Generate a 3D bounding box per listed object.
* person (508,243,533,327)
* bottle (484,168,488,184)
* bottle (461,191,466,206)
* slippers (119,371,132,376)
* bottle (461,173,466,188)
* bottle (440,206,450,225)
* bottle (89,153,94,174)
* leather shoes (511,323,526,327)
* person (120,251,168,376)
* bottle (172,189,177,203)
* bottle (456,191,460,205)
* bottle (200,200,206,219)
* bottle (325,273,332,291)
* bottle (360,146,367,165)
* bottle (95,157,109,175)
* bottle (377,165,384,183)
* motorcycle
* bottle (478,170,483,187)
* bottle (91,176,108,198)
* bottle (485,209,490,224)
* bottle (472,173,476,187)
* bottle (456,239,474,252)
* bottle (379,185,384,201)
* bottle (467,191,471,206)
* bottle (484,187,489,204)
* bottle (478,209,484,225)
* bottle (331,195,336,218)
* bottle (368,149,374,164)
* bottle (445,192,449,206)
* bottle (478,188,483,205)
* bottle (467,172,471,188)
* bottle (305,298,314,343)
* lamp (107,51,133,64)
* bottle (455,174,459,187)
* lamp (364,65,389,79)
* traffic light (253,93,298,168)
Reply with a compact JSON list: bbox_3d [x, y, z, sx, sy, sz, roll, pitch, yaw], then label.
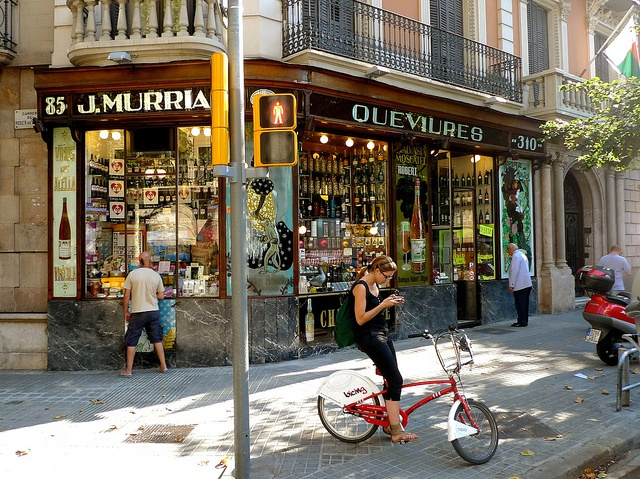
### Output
[{"bbox_3d":[5.034,1.145,18.436,0.575,1.915,0.861,2,12,14],"label":"person"},{"bbox_3d":[4.412,-1.646,19.274,0.118,0.357,0.055,1,12,13],"label":"bottle"},{"bbox_3d":[3.782,-1.057,19.178,0.154,0.334,0.082,-5,12,-15],"label":"bottle"},{"bbox_3d":[-3.813,2.635,14.370,0.192,0.056,0.083,2,-7,1],"label":"slippers"},{"bbox_3d":[3.777,-1.547,19.156,0.156,0.342,0.041,-8,13,-30],"label":"bottle"},{"bbox_3d":[3.209,-0.590,18.702,0.065,0.462,0.438,7,14,36],"label":"bottle"},{"bbox_3d":[-4.814,-1.587,15.439,0.071,0.426,0.135,2,12,14],"label":"bottle"},{"bbox_3d":[4.988,2.127,18.277,0.263,0.119,0.127,3,-4,11],"label":"leather shoes"},{"bbox_3d":[-3.501,1.619,14.521,0.840,2.020,0.654,-4,12,-14],"label":"person"},{"bbox_3d":[-3.054,-0.924,15.447,0.104,0.257,0.079,0,11,6],"label":"bottle"},{"bbox_3d":[3.603,-1.066,19.076,0.176,0.315,0.050,-10,14,-37],"label":"bottle"},{"bbox_3d":[-2.444,-0.629,15.337,0.130,0.381,0.105,-3,11,-8],"label":"bottle"},{"bbox_3d":[0.213,0.935,16.243,0.145,0.336,0.394,-1,12,0],"label":"bottle"},{"bbox_3d":[1.026,-1.944,16.987,0.173,0.378,0.039,-8,13,-29],"label":"bottle"},{"bbox_3d":[-4.626,-1.564,15.518,0.314,0.374,0.071,-3,11,-6],"label":"bottle"},{"bbox_3d":[1.443,-1.533,17.094,0.130,0.405,0.058,0,11,7],"label":"bottle"},{"bbox_3d":[5.577,1.530,14.194,0.788,1.853,1.184,-7,13,-28],"label":"motorcycle"},{"bbox_3d":[4.253,-1.616,19.303,0.118,0.327,0.040,1,12,13],"label":"bottle"},{"bbox_3d":[-4.678,-1.103,15.498,0.446,0.539,0.149,1,-1,-26],"label":"bottle"},{"bbox_3d":[4.429,-0.602,19.274,0.118,0.370,0.081,1,12,13],"label":"bottle"},{"bbox_3d":[4.080,-1.549,19.267,0.100,0.292,0.043,-5,12,-19],"label":"bottle"},{"bbox_3d":[3.801,0.157,19.090,0.523,0.324,0.105,-4,12,-14],"label":"bottle"},{"bbox_3d":[1.465,-1.110,17.097,0.177,0.398,0.106,-1,11,4],"label":"bottle"},{"bbox_3d":[3.943,-1.092,19.232,0.174,0.337,0.103,-3,11,-6],"label":"bottle"},{"bbox_3d":[4.421,-1.136,19.274,0.133,0.386,0.094,1,12,13],"label":"bottle"},{"bbox_3d":[4.272,-0.603,19.312,0.150,0.368,0.093,1,12,13],"label":"bottle"},{"bbox_3d":[0.311,-0.728,16.642,0.094,0.458,0.180,5,13,31],"label":"bottle"},{"bbox_3d":[1.220,-1.937,17.043,0.116,0.291,0.039,-7,13,-26],"label":"bottle"},{"bbox_3d":[3.275,-0.998,18.753,0.024,0.279,0.187,7,14,37],"label":"bottle"},{"bbox_3d":[4.260,-1.124,19.332,0.126,0.389,0.083,2,12,18],"label":"bottle"},{"bbox_3d":[3.953,-1.562,19.225,0.163,0.359,0.051,-7,13,-27],"label":"bottle"},{"bbox_3d":[-0.205,1.718,15.619,0.169,0.883,0.364,1,12,13],"label":"bottle"},{"bbox_3d":[-4.064,-3.682,14.873,0.464,0.228,0.412,-2,12,-3],"label":"lamp"},{"bbox_3d":[3.584,-1.533,19.035,0.039,0.342,0.156,9,16,43],"label":"bottle"},{"bbox_3d":[1.219,-3.650,16.049,0.353,0.133,0.317,4,-8,-38],"label":"lamp"},{"bbox_3d":[-0.654,-1.595,10.706,0.628,1.039,0.422,-2,11,-6],"label":"traffic light"}]
